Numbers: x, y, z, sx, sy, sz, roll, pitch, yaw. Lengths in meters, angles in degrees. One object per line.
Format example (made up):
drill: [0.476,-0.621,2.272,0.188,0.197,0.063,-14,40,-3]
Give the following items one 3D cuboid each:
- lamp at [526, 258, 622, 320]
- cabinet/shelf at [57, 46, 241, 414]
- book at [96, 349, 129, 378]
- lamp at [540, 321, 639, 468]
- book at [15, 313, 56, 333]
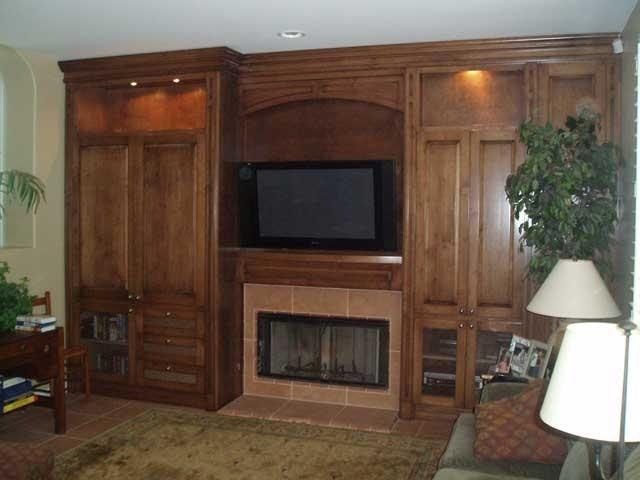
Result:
lamp: [1.894,0.386,4.039,0.741,0.532,0.750,-6,-2,35]
cabinet/shelf: [-1.708,-0.124,5.621,1.883,3.491,0.479,1,4,18]
book: [-2.171,1.288,5.720,0.283,0.280,0.101,-6,2,20]
lamp: [1.130,0.635,2.405,0.469,0.489,0.456,3,0,32]
book: [-2.505,0.721,4.799,0.215,0.078,0.166,1,0,22]
